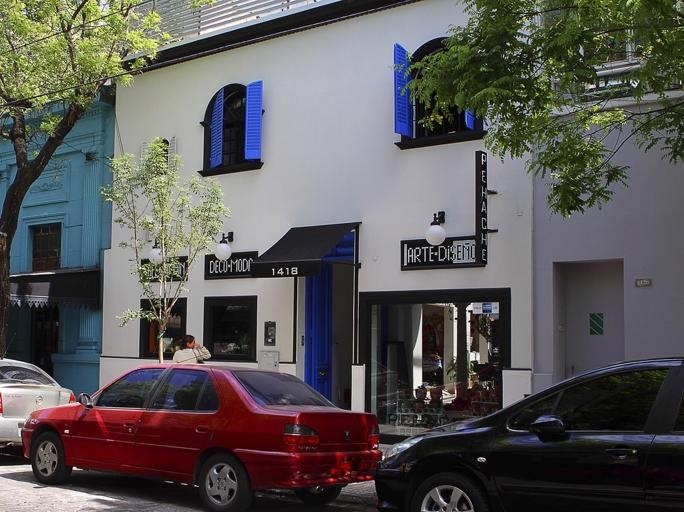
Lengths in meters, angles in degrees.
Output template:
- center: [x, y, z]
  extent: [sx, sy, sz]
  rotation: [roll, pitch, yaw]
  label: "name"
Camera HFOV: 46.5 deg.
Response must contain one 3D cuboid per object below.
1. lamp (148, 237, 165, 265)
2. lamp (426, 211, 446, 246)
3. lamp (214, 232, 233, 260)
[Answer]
- center: [-4.238, -0.100, 18.149]
  extent: [0.301, 0.703, 1.731]
  rotation: [1, -8, -14]
  label: "lamp"
- center: [1.912, -0.574, 16.288]
  extent: [0.397, 0.748, 0.542]
  rotation: [-2, -7, 7]
  label: "lamp"
- center: [-2.845, -0.244, 19.126]
  extent: [0.415, 0.695, 0.751]
  rotation: [0, -7, -9]
  label: "lamp"
